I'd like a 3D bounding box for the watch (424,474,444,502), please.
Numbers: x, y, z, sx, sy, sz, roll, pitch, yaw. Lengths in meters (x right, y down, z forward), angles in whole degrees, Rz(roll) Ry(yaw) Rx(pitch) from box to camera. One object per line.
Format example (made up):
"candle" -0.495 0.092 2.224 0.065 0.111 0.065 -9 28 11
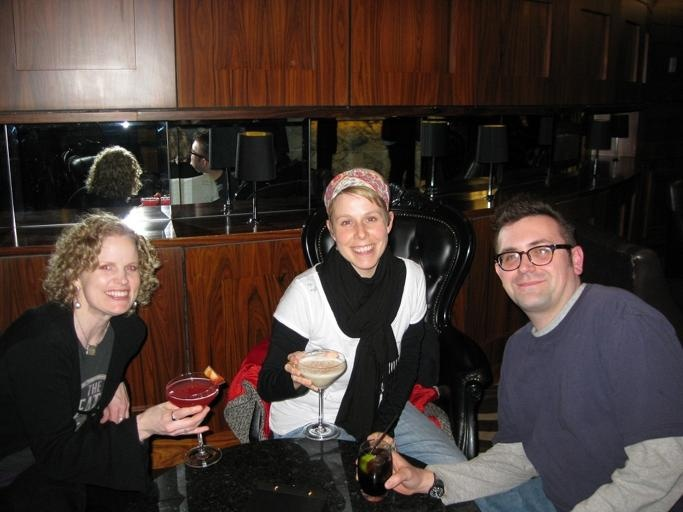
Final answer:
"watch" 0.293 0.720 1.639 0.039 0.059 0.062 6 5 -10

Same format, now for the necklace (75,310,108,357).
"necklace" -0.920 0.278 1.950 0.115 0.156 0.057 4 5 -44

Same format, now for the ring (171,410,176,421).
"ring" -0.537 0.512 1.696 0.019 0.026 0.010 -1 -2 11

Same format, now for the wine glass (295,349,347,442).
"wine glass" -0.074 0.484 1.886 0.161 0.326 0.287 -3 10 -9
